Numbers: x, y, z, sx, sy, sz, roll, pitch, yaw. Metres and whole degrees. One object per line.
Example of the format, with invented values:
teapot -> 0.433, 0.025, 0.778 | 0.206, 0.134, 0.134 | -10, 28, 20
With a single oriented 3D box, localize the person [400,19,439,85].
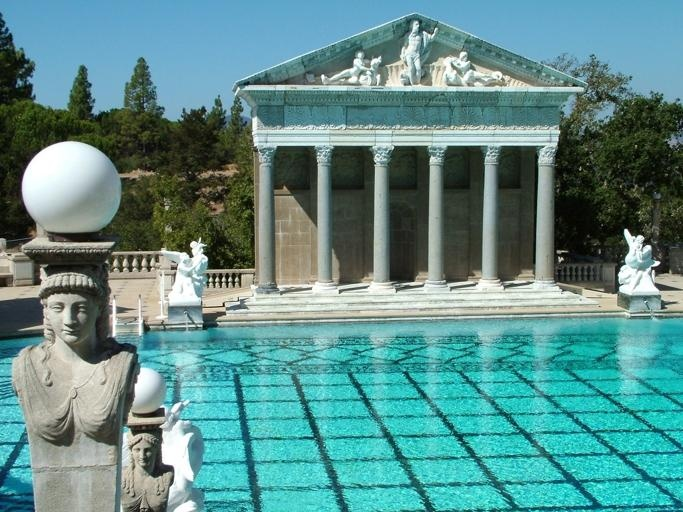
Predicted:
person -> 2.816, -7.484, 27.543 | 1.258, 2.345, 0.441 | -2, 8, -15

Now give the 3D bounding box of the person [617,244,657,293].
person -> 10.685, 0.476, 26.753 | 1.273, 1.704, 1.154 | 1, 8, 5

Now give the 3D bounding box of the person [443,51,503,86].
person -> 4.906, -6.802, 27.991 | 1.898, 1.073, 1.288 | 9, 45, 2

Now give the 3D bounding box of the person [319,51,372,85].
person -> 0.344, -6.779, 27.562 | 2.141, 0.887, 1.195 | -7, 42, 3
